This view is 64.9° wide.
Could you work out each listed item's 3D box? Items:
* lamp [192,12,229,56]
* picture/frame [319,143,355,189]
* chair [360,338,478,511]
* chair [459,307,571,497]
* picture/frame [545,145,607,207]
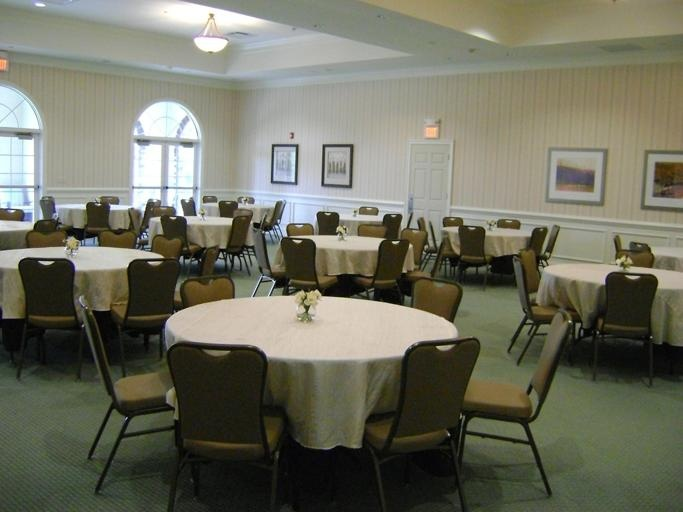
[{"bbox_3d":[-2.228,-3.758,9.125,0.555,0.728,0.601,0,3,8],"label":"lamp"},{"bbox_3d":[-0.125,-2.097,12.491,0.771,0.950,0.046,8,13,29],"label":"picture/frame"},{"bbox_3d":[0.427,0.902,2.933,0.589,0.971,0.322,-3,9,-19],"label":"chair"},{"bbox_3d":[1.064,0.891,3.387,0.692,1.095,0.493,0,9,3],"label":"chair"},{"bbox_3d":[4.167,-1.426,9.447,0.957,1.038,0.065,9,10,32],"label":"picture/frame"}]
